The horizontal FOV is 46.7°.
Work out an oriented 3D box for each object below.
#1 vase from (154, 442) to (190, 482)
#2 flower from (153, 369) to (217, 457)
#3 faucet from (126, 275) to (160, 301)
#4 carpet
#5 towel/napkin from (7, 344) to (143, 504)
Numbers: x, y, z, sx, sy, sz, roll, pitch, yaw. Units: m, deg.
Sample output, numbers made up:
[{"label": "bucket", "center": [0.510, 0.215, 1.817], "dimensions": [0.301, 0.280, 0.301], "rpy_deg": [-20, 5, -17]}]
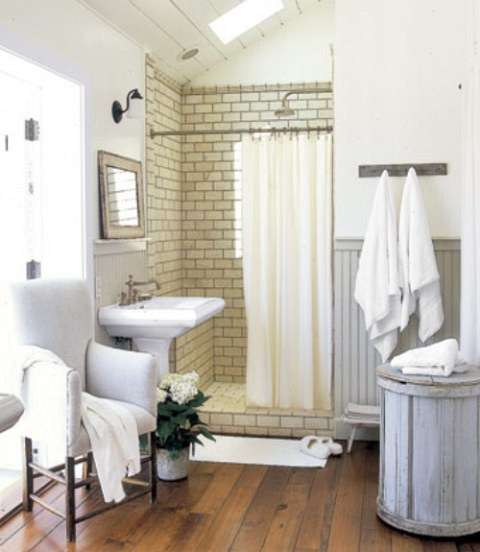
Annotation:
[{"label": "vase", "center": [-0.340, 0.925, 2.761], "dimensions": [0.136, 0.134, 0.157], "rpy_deg": [0, -6, -2]}, {"label": "flower", "center": [-0.292, 0.739, 2.792], "dimensions": [0.256, 0.418, 0.331], "rpy_deg": [-6, -9, -12]}, {"label": "faucet", "center": [-0.631, 0.075, 3.428], "dimensions": [0.202, 0.180, 0.120], "rpy_deg": [-3, 2, 22]}, {"label": "carpet", "center": [0.108, 0.990, 3.144], "dimensions": [0.743, 0.025, 0.387], "rpy_deg": [1, 5, 7]}, {"label": "towel/napkin", "center": [-0.679, 0.603, 2.374], "dimensions": [0.423, 0.664, 0.456], "rpy_deg": [-2, -2, 30]}]
